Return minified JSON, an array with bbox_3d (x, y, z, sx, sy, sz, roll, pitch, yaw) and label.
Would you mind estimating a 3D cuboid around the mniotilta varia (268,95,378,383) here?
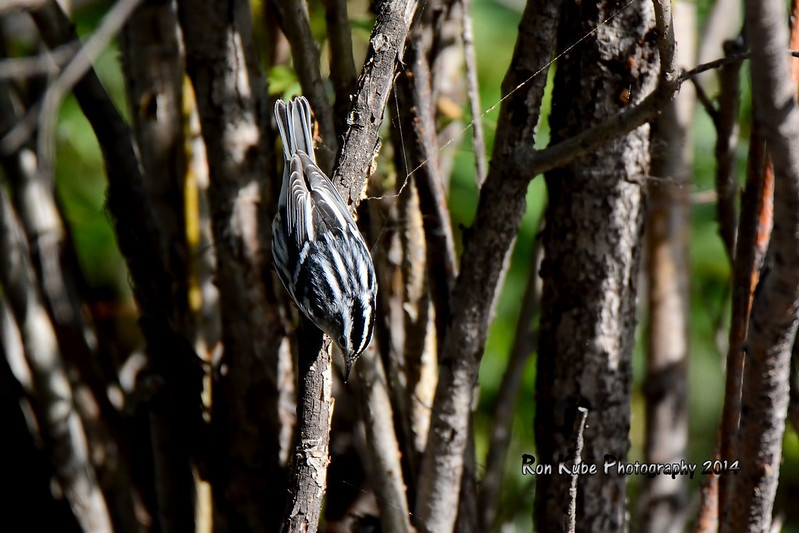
[{"bbox_3d":[-0.290,-0.071,4.445,0.297,1.173,0.401,-10,6,-15],"label":"mniotilta varia"}]
